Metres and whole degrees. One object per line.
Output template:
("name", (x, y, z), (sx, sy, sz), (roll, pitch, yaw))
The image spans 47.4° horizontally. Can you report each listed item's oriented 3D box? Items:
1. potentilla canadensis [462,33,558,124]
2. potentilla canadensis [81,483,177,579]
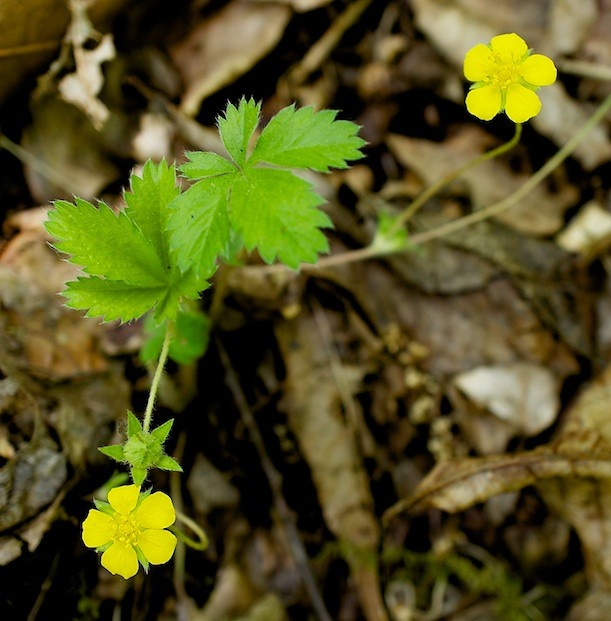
("potentilla canadensis", (0.806, -0.933, 2.807), (0.356, 0.187, 0.314), (20, 73, 10))
("potentilla canadensis", (-0.640, 0.826, 2.616), (0.365, 0.284, 0.305), (-21, 71, -3))
